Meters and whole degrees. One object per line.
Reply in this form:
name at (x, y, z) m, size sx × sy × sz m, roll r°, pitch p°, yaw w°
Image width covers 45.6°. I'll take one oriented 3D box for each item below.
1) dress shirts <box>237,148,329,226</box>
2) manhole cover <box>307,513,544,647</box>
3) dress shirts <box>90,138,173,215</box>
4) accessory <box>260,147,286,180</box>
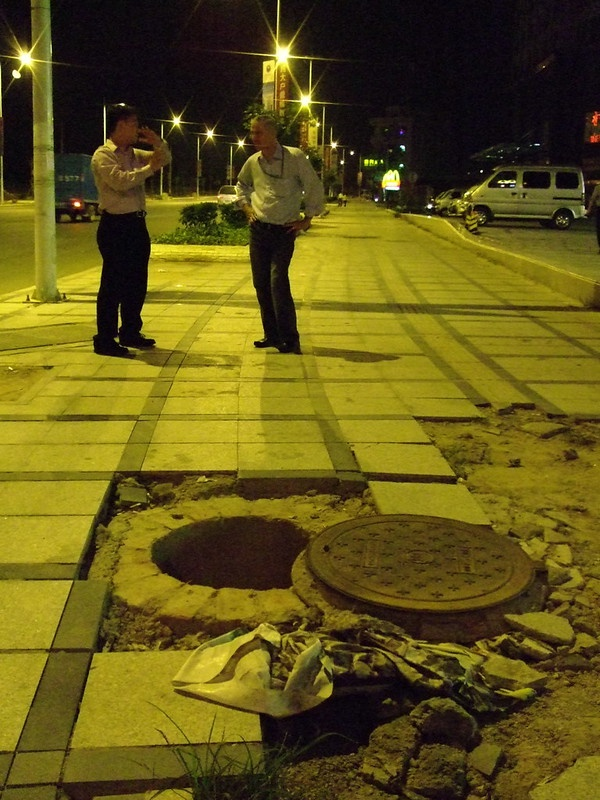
dress shirts at (-0.210, -1.966, 6.521) m, size 0.798 × 0.719 × 0.589 m, roll -1°, pitch 12°, yaw -1°
manhole cover at (0.476, 0.650, 2.721) m, size 0.877 × 0.105 × 0.849 m, roll -5°, pitch 13°, yaw -18°
dress shirts at (-1.486, -1.989, 6.363) m, size 0.746 × 0.646 × 0.640 m, roll 14°, pitch 22°, yaw 38°
accessory at (-0.236, -2.154, 6.514) m, size 0.204 × 0.268 × 0.136 m, roll 0°, pitch 1°, yaw 6°
